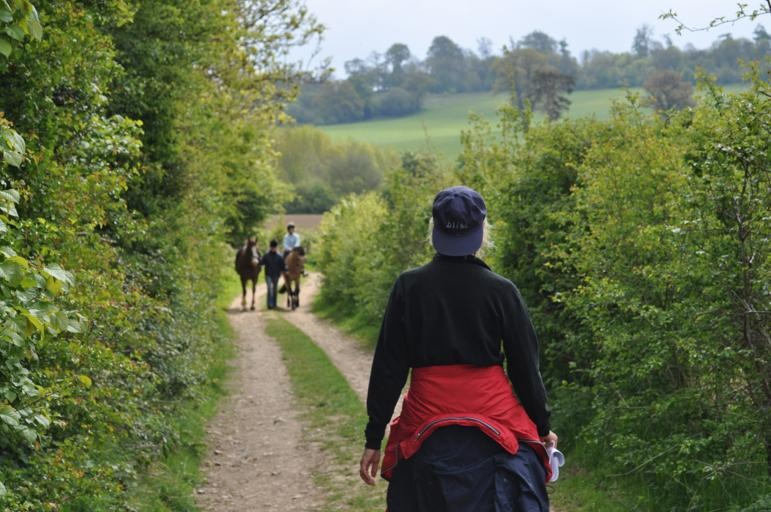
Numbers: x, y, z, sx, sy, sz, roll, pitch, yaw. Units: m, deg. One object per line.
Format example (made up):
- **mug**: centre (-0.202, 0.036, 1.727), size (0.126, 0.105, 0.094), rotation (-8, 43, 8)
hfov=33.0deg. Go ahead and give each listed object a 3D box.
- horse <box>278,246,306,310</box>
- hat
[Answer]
- **horse**: centre (-2.762, 0.604, 39.421), size (0.619, 1.842, 3.072), rotation (6, -11, -6)
- **hat**: centre (1.046, -0.536, 18.685), size (0.661, 1.056, 0.439), rotation (0, -23, 5)
